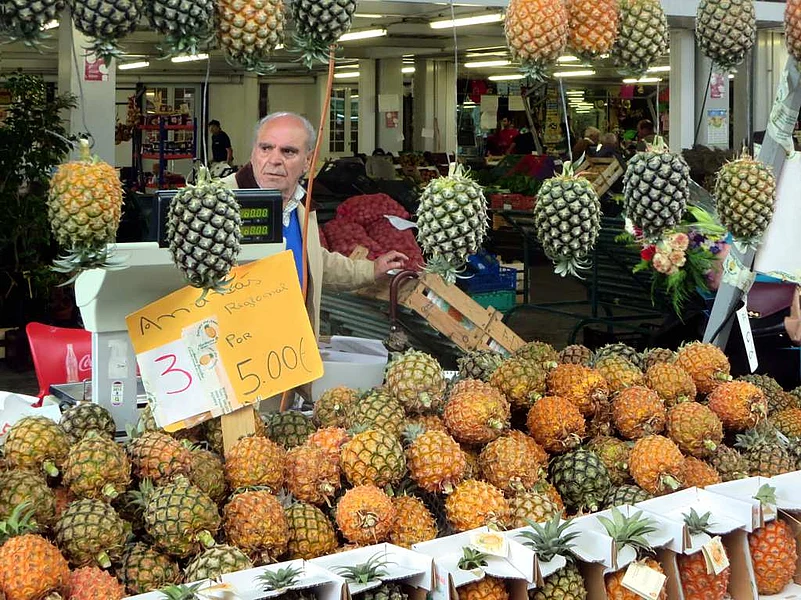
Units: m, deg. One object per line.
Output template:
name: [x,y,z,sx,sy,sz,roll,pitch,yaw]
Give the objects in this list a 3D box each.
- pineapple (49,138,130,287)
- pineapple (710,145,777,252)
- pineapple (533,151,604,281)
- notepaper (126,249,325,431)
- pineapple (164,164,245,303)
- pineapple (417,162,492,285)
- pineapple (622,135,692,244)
pineapple: [-0.873,-0.271,1.994,0.196,0.352,0.188,-6,0,23]
pineapple: [1.381,-0.420,2.820,0.235,0.353,0.241,-5,-3,9]
pineapple: [0.565,-0.283,2.377,0.209,0.371,0.195,3,16,15]
notepaper: [-0.605,0.077,2.348,0.750,0.551,0.194,-18,10,-20]
pineapple: [-0.571,-0.188,2.057,0.202,0.391,0.163,-7,17,-22]
pineapple: [0.148,-0.241,2.250,0.222,0.369,0.219,6,-3,2]
pineapple: [0.915,-0.364,2.524,0.211,0.329,0.121,4,16,16]
